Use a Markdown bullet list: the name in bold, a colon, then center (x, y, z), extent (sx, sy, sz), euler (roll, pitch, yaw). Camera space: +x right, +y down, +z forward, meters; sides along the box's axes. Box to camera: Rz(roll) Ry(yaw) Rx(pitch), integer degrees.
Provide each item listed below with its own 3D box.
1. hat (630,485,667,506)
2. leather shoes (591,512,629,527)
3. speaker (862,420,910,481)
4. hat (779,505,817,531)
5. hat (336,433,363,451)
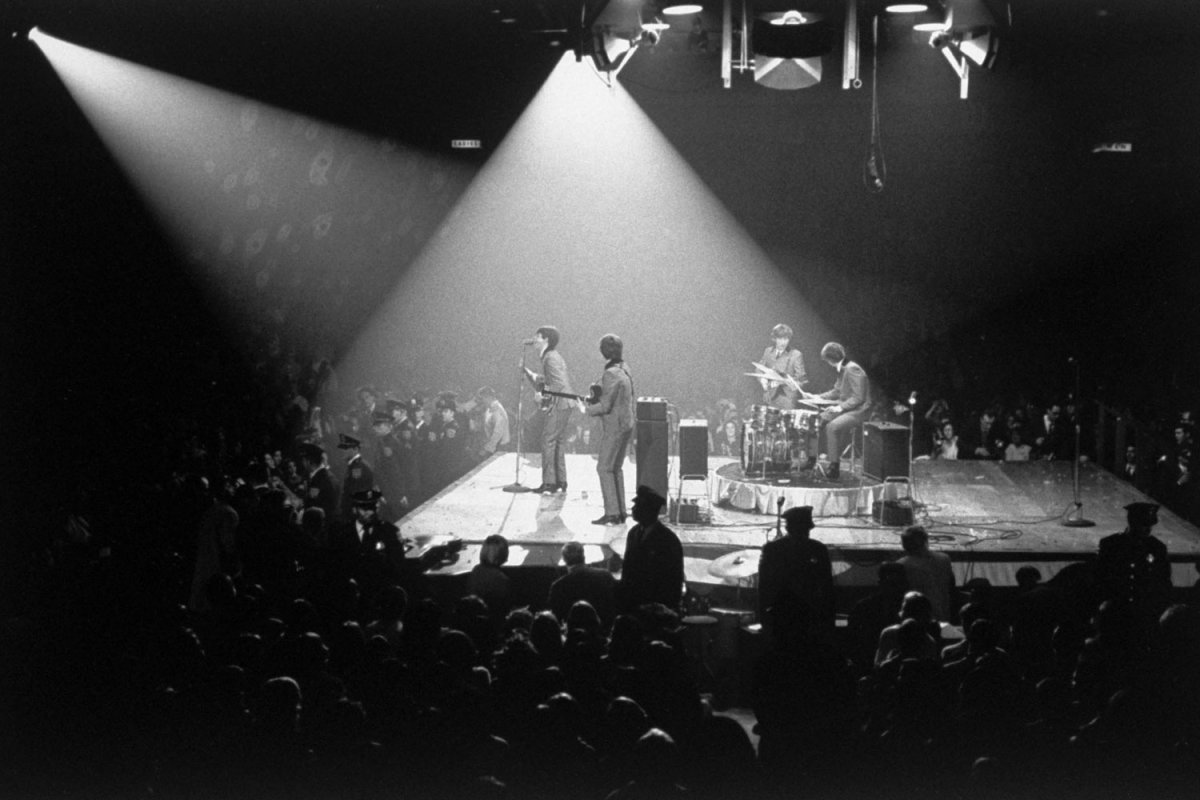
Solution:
- **hat**: center (0.442, 0.874, 8.620), extent (0.437, 0.165, 0.313), euler (1, -1, 1)
- **leather shoes**: center (0.128, 1.541, 12.197), extent (0.462, 0.191, 0.153), euler (3, -3, -2)
- **speaker**: center (3.943, 0.730, 12.953), extent (0.436, 0.722, 0.766), euler (-2, 0, 3)
- **hat**: center (1.684, 1.007, 8.178), extent (0.313, 0.155, 0.371), euler (0, -6, -11)
- **hat**: center (-3.454, 0.572, 12.927), extent (0.213, 0.152, 0.293), euler (-4, -22, 20)
